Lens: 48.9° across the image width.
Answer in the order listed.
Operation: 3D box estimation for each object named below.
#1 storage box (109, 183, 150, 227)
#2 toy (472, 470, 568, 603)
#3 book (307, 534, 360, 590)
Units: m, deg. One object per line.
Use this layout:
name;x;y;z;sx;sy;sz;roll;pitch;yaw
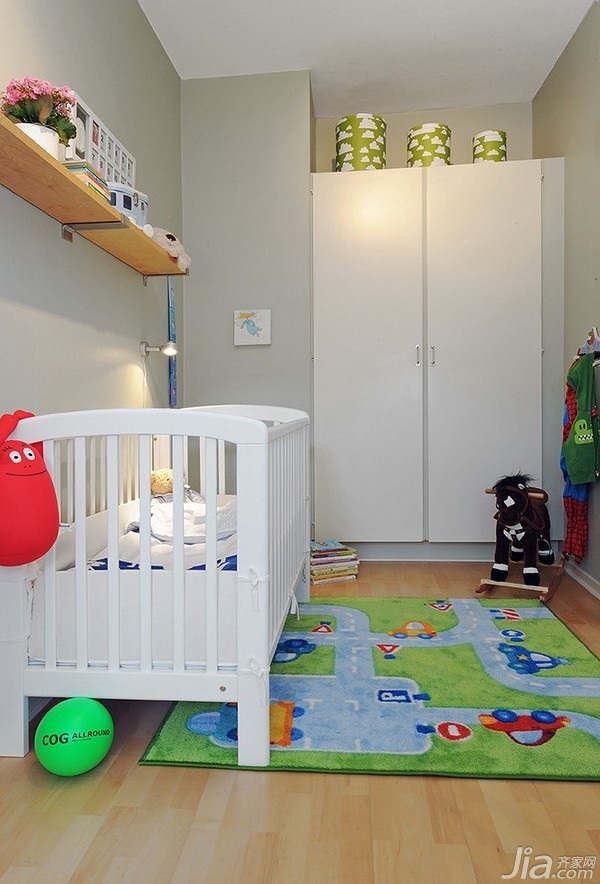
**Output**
storage box;-0.531;-0.737;2.051;0.074;0.158;0.300;-1;3;-5
toy;0.927;0.359;2.761;0.322;0.481;0.488;1;3;22
book;0.145;0.534;2.907;0.259;0.125;0.359;-1;-1;-9
